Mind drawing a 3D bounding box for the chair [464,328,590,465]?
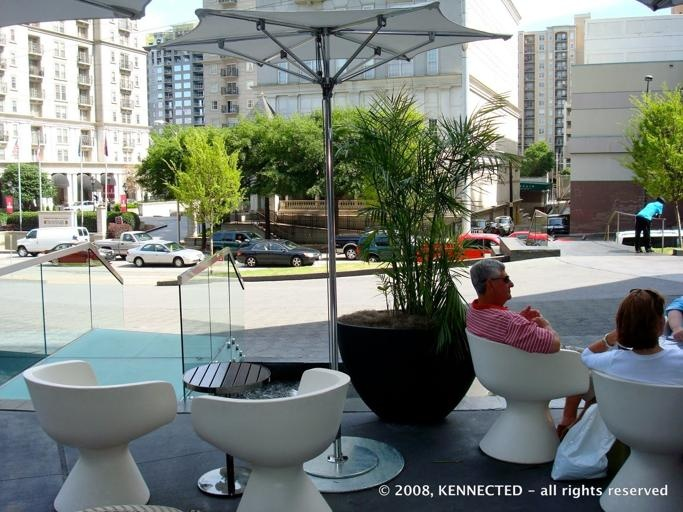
[{"bbox_3d":[1.640,1.233,5.802,1.021,1.215,1.050,-3,3,-18],"label":"chair"}]

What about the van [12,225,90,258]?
[{"bbox_3d":[-13.954,-0.723,29.854,4.249,1.850,2.211,1,3,9],"label":"van"}]

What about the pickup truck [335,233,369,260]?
[{"bbox_3d":[0.392,-0.456,30.278,1.761,0.802,1.065,-2,5,4],"label":"pickup truck"}]

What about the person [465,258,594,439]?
[{"bbox_3d":[1.642,0.892,5.502,0.897,1.795,0.853,-14,-1,-9],"label":"person"}]

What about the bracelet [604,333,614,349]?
[{"bbox_3d":[2.131,0.692,4.990,0.094,0.117,0.048,-9,22,17],"label":"bracelet"}]

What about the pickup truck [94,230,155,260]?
[{"bbox_3d":[-11.764,-0.479,33.577,2.894,1.312,1.562,-2,5,4],"label":"pickup truck"}]

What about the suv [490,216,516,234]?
[{"bbox_3d":[10.976,-2.141,42.872,1.232,1.303,2.732,-1,1,14],"label":"suv"}]

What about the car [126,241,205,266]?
[{"bbox_3d":[-8.575,-0.085,29.860,2.802,0.937,1.276,-1,6,9],"label":"car"}]

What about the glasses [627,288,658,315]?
[{"bbox_3d":[2.154,0.319,4.480,0.149,0.083,0.189,27,1,-17],"label":"glasses"}]

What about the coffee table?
[{"bbox_3d":[-1.001,1.417,5.316,0.817,1.050,0.888,-1,1,-21],"label":"coffee table"}]

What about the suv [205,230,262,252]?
[{"bbox_3d":[-5.552,-0.521,33.176,2.994,1.364,1.431,-4,7,9],"label":"suv"}]
